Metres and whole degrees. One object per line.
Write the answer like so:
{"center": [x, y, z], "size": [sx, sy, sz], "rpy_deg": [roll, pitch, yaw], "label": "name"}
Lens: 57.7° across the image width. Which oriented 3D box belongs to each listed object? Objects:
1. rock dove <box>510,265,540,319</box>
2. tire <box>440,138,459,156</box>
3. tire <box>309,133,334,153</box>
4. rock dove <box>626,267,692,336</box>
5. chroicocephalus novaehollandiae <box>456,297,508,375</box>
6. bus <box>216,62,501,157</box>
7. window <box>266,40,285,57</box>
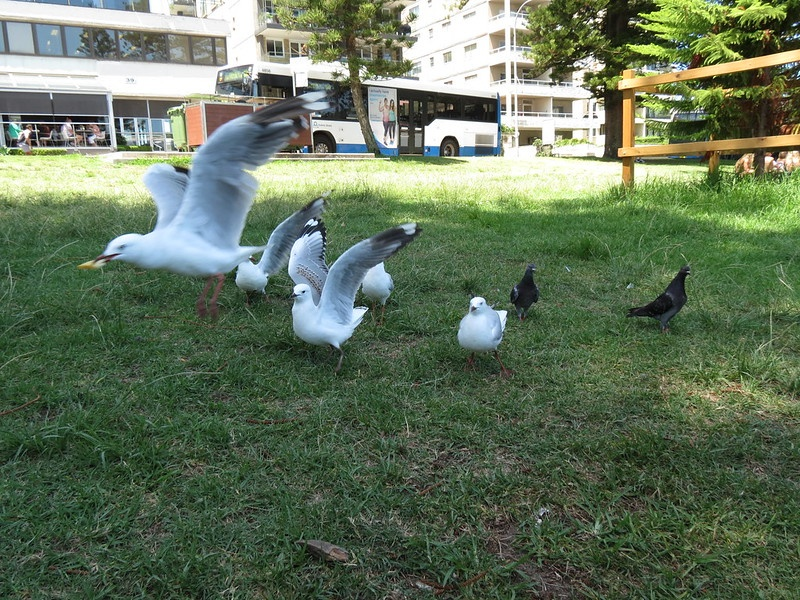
{"center": [1.199, -0.083, 7.059], "size": [0.257, 0.523, 0.277], "rpy_deg": [1, 15, 8], "label": "rock dove"}
{"center": [1.861, -5.908, 28.180], "size": [0.347, 0.904, 1.006], "rpy_deg": [13, 15, 43], "label": "tire"}
{"center": [-2.635, -5.042, 23.415], "size": [0.912, 0.815, 0.314], "rpy_deg": [-6, 13, -40], "label": "tire"}
{"center": [2.420, -0.023, 6.800], "size": [0.535, 0.559, 0.330], "rpy_deg": [3, 15, 15], "label": "rock dove"}
{"center": [0.661, 0.268, 5.943], "size": [0.387, 0.464, 0.694], "rpy_deg": [2, 31, 19], "label": "chroicocephalus novaehollandiae"}
{"center": [-0.996, -6.569, 26.601], "size": [2.956, 2.902, 12.645], "rpy_deg": [11, 15, 44], "label": "bus"}
{"center": [-6.865, -13.469, 39.002], "size": [1.199, 0.924, 0.111], "rpy_deg": [-7, 23, -29], "label": "window"}
